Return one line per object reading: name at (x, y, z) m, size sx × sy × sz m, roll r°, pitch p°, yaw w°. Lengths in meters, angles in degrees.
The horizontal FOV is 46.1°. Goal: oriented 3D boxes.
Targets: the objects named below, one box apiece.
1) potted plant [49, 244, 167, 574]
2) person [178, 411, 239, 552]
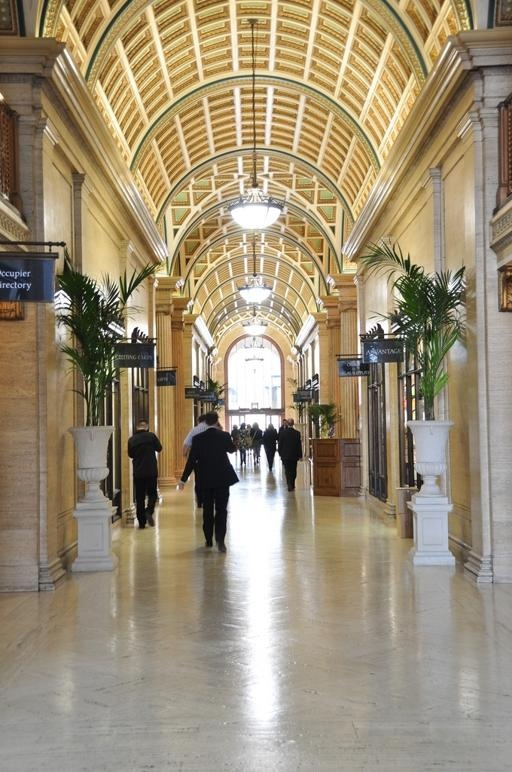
potted plant at (-2.088, 0.225, 8.113) m, size 0.856 × 4.187 × 2.566 m, roll 0°, pitch -7°, yaw -12°
person at (-0.618, 1.305, 8.301) m, size 0.701 × 1.909 × 1.099 m, roll -1°, pitch -7°, yaw -3°
